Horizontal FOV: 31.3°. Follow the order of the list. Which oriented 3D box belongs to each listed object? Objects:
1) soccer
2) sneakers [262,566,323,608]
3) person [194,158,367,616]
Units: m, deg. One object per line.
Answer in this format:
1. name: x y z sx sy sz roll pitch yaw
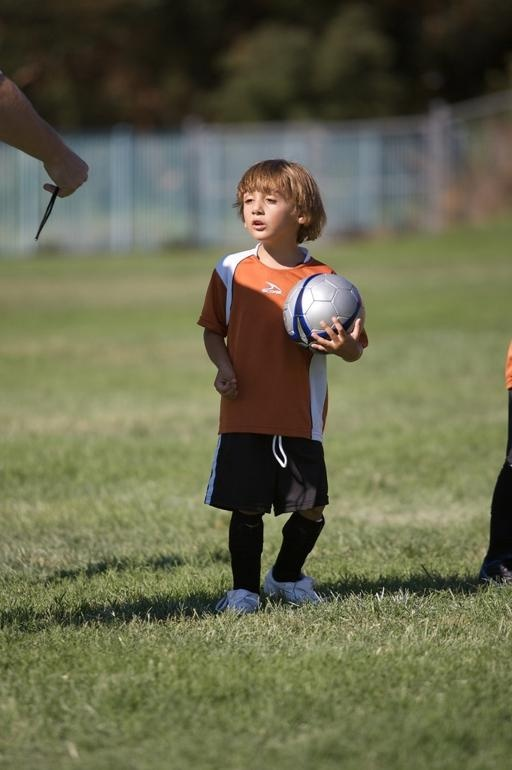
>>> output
1. soccer: 0.217 -0.236 2.946 0.264 0.214 0.290 8 -10 -41
2. sneakers: 0.131 0.702 3.134 0.212 0.071 0.079 4 -2 43
3. person: 0.081 0.009 3.003 0.546 1.500 0.478 0 7 4
